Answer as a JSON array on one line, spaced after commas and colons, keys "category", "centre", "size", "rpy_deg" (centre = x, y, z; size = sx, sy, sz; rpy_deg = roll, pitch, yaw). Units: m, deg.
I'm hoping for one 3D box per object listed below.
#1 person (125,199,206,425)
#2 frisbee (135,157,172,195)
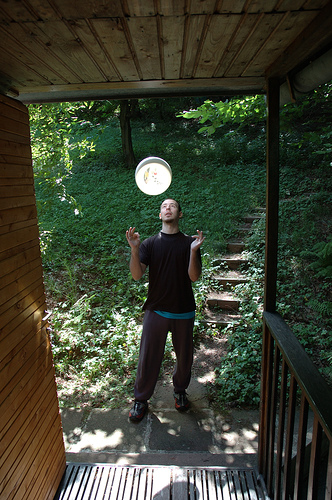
[{"category": "person", "centre": [-0.019, 0.506, 2.900], "size": [0.630, 1.850, 0.595], "rpy_deg": [0, 8, -2]}, {"category": "frisbee", "centre": [-0.075, -0.490, 2.196], "size": [0.213, 0.263, 0.282], "rpy_deg": [-1, 1, 9]}]
